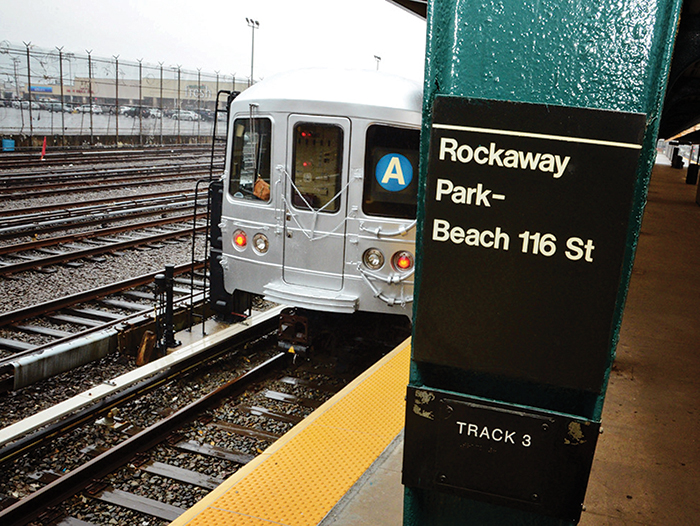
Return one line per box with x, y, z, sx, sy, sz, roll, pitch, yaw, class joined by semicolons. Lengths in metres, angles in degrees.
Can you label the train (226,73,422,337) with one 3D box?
-0.095;-1.738;8.352;2.694;3.518;5.081;6;27;3;train
